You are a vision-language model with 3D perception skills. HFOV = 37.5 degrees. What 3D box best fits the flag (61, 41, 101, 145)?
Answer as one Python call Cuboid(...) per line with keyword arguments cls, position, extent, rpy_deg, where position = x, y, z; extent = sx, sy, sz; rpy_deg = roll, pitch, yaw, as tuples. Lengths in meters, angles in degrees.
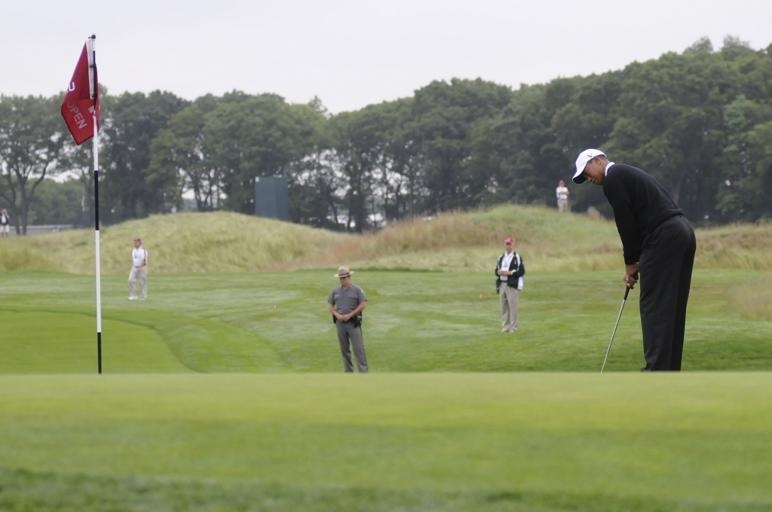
Cuboid(cls="flag", position=(-11.372, -6.061, 42.252), extent=(1.185, 3.885, 1.335), rpy_deg=(-2, 11, -17))
